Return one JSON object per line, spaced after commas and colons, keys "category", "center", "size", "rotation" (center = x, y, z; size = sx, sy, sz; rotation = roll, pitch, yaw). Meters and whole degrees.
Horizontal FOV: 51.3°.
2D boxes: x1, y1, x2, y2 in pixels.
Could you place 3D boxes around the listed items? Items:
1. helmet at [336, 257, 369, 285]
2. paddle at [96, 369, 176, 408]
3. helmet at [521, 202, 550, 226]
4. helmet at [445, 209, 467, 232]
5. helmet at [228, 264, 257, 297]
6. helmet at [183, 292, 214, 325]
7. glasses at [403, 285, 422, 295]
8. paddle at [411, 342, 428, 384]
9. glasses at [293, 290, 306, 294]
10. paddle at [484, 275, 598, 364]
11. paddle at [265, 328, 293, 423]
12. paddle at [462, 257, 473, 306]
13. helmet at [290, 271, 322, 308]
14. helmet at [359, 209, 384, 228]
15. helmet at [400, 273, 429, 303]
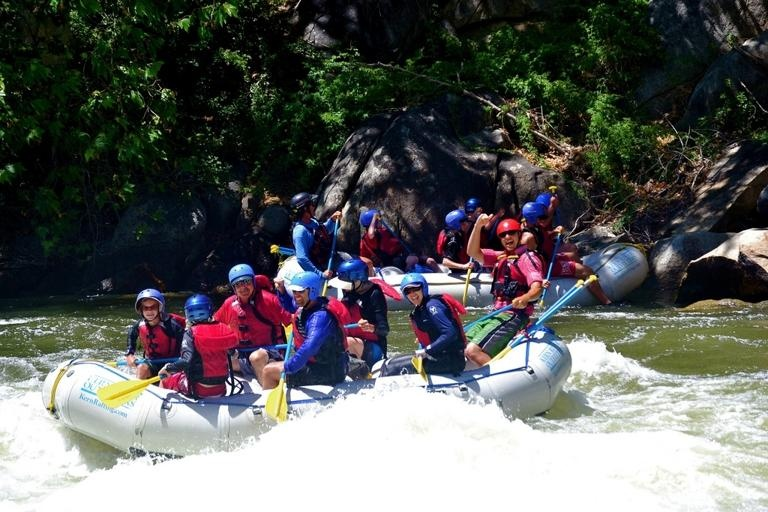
{"category": "helmet", "center": [-0.462, 0.221, 11.873], "size": [0.382, 0.354, 0.305], "rotation": [-13, 21, -10]}
{"category": "paddle", "center": [-3.375, 1.773, 11.021], "size": [1.059, 0.369, 0.203], "rotation": [-23, -26, -27]}
{"category": "helmet", "center": [2.756, -0.831, 14.724], "size": [0.427, 0.359, 0.331], "rotation": [-17, 28, 29]}
{"category": "helmet", "center": [1.457, -0.788, 16.179], "size": [0.392, 0.416, 0.321], "rotation": [14, 38, 6]}
{"category": "helmet", "center": [-2.063, 0.356, 11.755], "size": [0.339, 0.494, 0.457], "rotation": [-6, -1, -1]}
{"category": "helmet", "center": [-2.566, 0.716, 11.131], "size": [0.297, 0.418, 0.400], "rotation": [-4, 11, -1]}
{"category": "glasses", "center": [0.379, 0.478, 11.204], "size": [0.298, 0.163, 0.125], "rotation": [-4, 3, 13]}
{"category": "paddle", "center": [0.531, 1.473, 11.194], "size": [0.151, 0.464, 0.224], "rotation": [-23, 10, -20]}
{"category": "glasses", "center": [-1.137, 0.468, 10.836], "size": [0.186, 0.047, 0.036], "rotation": [-5, 3, 8]}
{"category": "paddle", "center": [2.476, 1.021, 12.727], "size": [1.782, 0.261, 0.215], "rotation": [-46, 12, -20]}
{"category": "paddle", "center": [-1.418, 1.610, 11.110], "size": [0.295, 1.219, 0.841], "rotation": [-3, 3, 12]}
{"category": "paddle", "center": [1.631, 0.503, 15.715], "size": [0.156, 1.027, 0.052], "rotation": [0, -26, 17]}
{"category": "helmet", "center": [-1.071, 0.435, 10.960], "size": [0.429, 0.455, 0.258], "rotation": [-5, 3, -17]}
{"category": "helmet", "center": [-0.274, -0.831, 16.679], "size": [0.452, 0.262, 0.302], "rotation": [-38, 41, -8]}
{"category": "helmet", "center": [0.416, 0.432, 11.305], "size": [0.273, 0.405, 0.339], "rotation": [-8, 1, 8]}
